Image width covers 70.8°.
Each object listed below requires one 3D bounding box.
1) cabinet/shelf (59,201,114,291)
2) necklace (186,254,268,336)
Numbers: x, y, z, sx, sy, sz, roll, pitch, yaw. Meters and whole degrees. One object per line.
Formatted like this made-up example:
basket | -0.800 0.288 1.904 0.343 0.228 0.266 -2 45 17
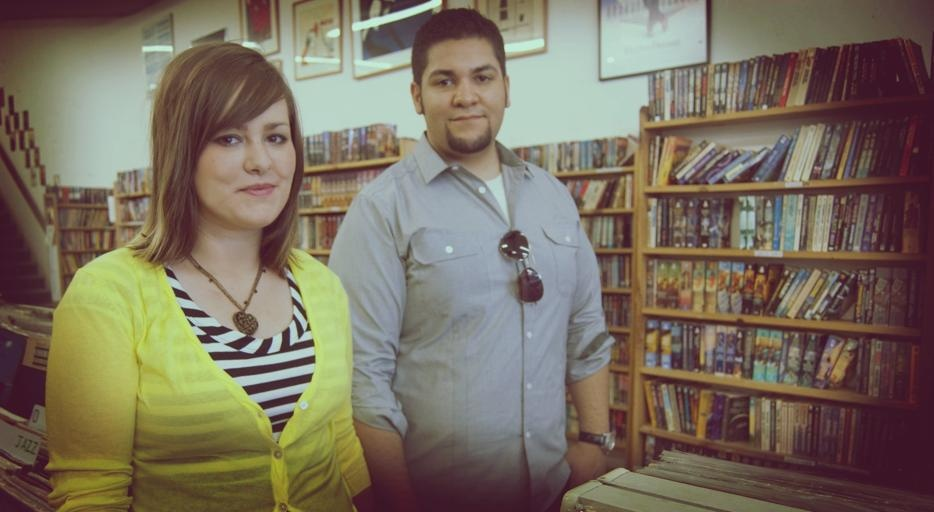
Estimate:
cabinet/shelf | -2.367 -0.061 4.021 0.394 0.208 0.663 12 26 -32
necklace | -1.060 0.159 2.886 0.238 0.391 0.039 -36 1 -42
